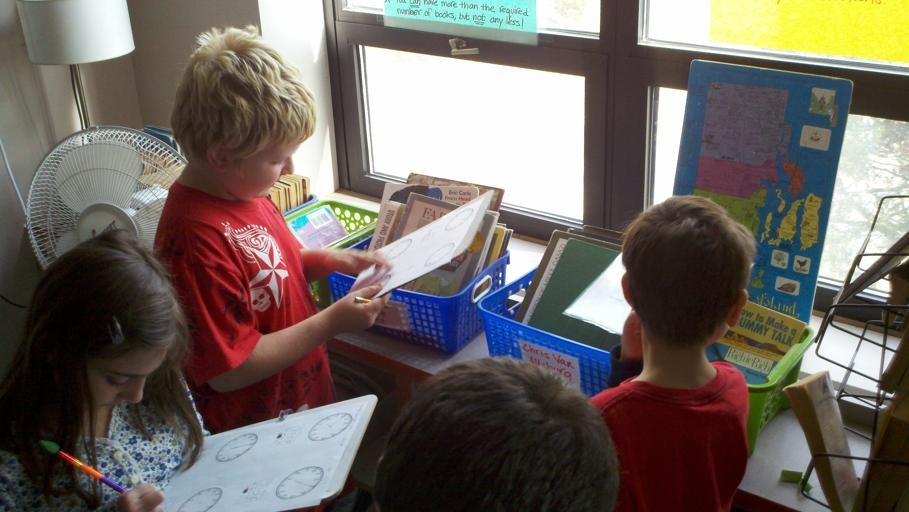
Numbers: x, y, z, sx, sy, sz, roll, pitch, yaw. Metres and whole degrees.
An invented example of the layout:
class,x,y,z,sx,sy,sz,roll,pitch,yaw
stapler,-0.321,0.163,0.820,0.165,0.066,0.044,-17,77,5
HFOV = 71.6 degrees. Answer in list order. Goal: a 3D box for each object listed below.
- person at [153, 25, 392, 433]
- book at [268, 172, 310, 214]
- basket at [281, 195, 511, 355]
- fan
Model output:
class,x,y,z,sx,sy,sz,roll,pitch,yaw
person,-0.571,-0.057,1.911,0.616,1.201,0.415,-2,19,-25
book,-0.643,-0.238,2.424,0.123,0.158,0.122,12,40,2
basket,-0.289,0.093,2.382,0.789,0.271,0.511,12,30,27
fan,-1.139,-0.185,2.072,0.560,0.546,0.243,2,13,-3
